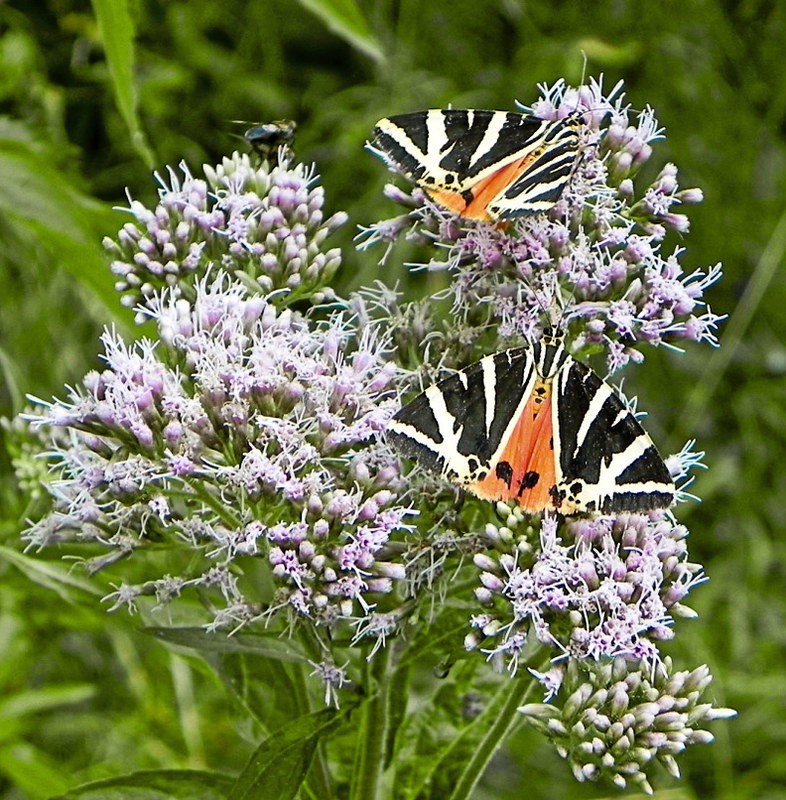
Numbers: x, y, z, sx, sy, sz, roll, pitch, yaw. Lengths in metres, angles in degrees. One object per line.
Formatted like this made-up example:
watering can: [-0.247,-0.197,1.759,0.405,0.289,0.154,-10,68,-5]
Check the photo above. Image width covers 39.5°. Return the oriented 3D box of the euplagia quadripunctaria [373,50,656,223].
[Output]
euplagia quadripunctaria: [0.272,-0.640,2.826,0.645,0.389,0.749,1,12,15]

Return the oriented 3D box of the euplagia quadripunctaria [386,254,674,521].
euplagia quadripunctaria: [0.325,0.030,2.717,0.516,0.503,0.375,-28,94,7]
